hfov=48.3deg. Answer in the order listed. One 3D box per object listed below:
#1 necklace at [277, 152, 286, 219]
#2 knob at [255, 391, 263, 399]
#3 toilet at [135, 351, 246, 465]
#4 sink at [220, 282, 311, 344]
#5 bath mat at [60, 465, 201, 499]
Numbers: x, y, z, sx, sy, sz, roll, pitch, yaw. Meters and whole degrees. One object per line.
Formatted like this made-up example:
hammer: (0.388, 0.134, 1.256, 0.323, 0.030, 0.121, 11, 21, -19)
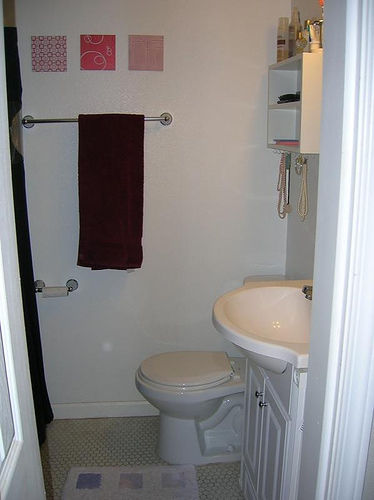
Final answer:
necklace: (0.458, -0.306, 2.011, 0.039, 0.333, 0.257, 1, 10, 13)
knob: (0.242, 0.487, 1.402, 0.022, 0.008, 0.020, -17, 47, 20)
toilet: (0.022, 0.742, 1.919, 0.488, 0.471, 0.374, 1, 9, 7)
sink: (0.280, 0.212, 1.468, 0.307, 0.144, 0.259, 1, 11, 9)
bath mat: (-0.229, 0.991, 1.778, 0.563, 0.030, 0.197, -1, 11, -2)
